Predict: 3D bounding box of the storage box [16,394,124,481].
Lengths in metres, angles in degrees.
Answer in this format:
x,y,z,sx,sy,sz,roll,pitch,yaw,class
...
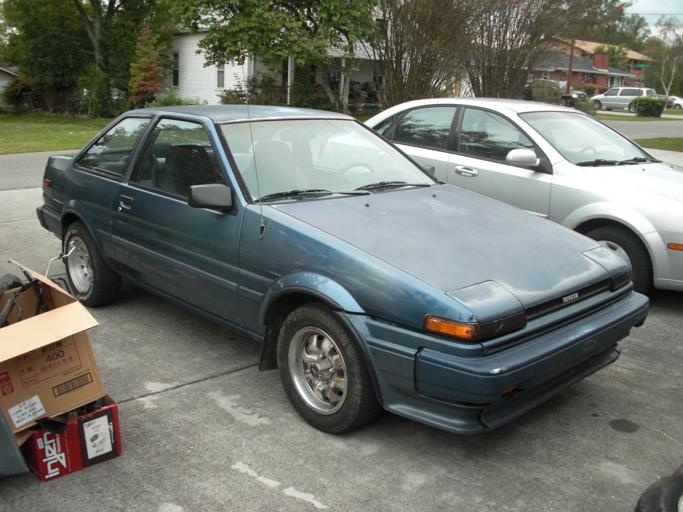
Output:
x,y,z,sx,sy,sz,roll,pitch,yaw,class
-1.481,1.013,2.795,0.515,0.276,0.485,-8,5,29,storage box

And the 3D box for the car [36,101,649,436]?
x,y,z,sx,sy,sz,roll,pitch,yaw,class
-0.598,-0.175,4.336,5.178,1.564,2.437,18,24,33,car
